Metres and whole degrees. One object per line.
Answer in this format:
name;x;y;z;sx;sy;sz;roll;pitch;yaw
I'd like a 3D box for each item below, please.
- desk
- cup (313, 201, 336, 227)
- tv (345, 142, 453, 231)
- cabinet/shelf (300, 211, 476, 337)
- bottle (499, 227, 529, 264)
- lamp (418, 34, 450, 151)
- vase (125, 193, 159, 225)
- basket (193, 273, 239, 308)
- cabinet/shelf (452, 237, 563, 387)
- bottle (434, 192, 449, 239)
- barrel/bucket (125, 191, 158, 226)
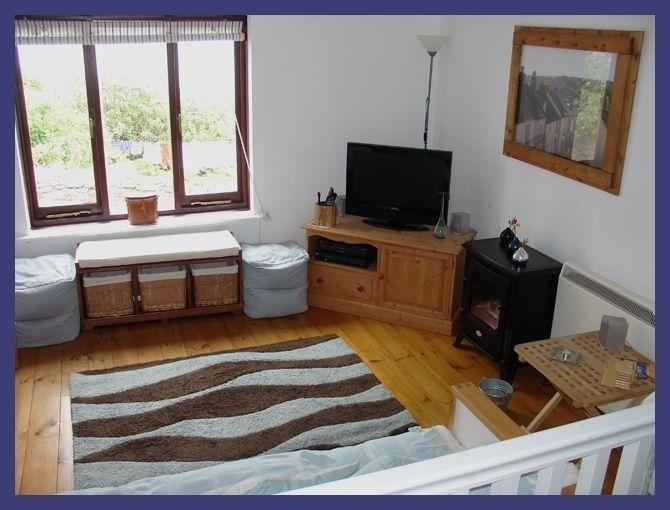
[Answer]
desk;-1.428;0.256;4.115;1.270;0.590;0.484;-5;5;-11
cup;-0.083;-0.347;4.224;0.186;0.196;0.205;2;12;0
tv;0.537;-0.563;4.129;0.751;0.532;0.194;9;27;19
cabinet/shelf;0.441;0.132;4.341;1.407;0.750;0.544;10;22;23
bottle;1.300;-0.060;3.516;0.095;0.096;0.269;-4;25;-5
lamp;0.892;-1.439;4.315;0.281;1.042;0.856;-4;-11;11
vase;-1.708;-0.408;4.435;0.284;0.258;0.273;1;18;-2
basket;-0.995;0.297;4.070;0.452;0.313;0.252;-3;12;-20
cabinet/shelf;1.231;0.401;3.378;0.535;0.880;0.726;-8;28;-18
bottle;0.882;-0.314;4.023;0.125;0.371;0.142;-4;-11;12
barrel/bucket;-1.756;-0.437;4.414;0.274;0.278;0.277;5;23;-2
